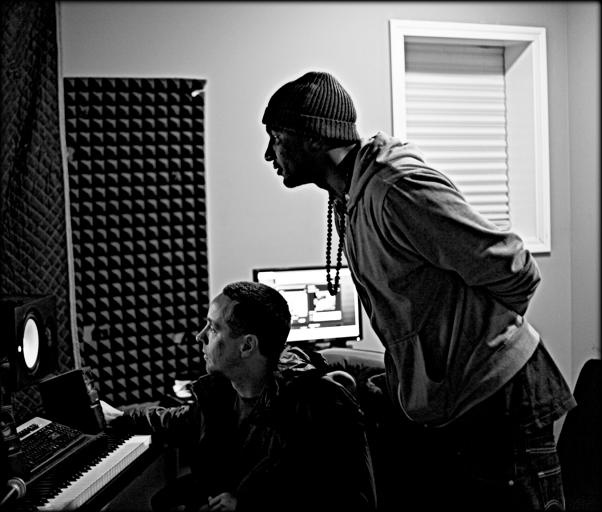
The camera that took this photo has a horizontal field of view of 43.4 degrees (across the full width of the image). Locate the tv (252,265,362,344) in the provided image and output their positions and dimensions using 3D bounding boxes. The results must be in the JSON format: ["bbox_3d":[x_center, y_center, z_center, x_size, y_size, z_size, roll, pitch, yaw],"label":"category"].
[{"bbox_3d":[0.022,0.216,3.392,0.333,0.302,0.048,-1,-5,-7],"label":"tv"}]

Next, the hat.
[{"bbox_3d":[0.050,-0.499,2.574,0.328,0.254,0.314,8,-3,-4],"label":"hat"}]
